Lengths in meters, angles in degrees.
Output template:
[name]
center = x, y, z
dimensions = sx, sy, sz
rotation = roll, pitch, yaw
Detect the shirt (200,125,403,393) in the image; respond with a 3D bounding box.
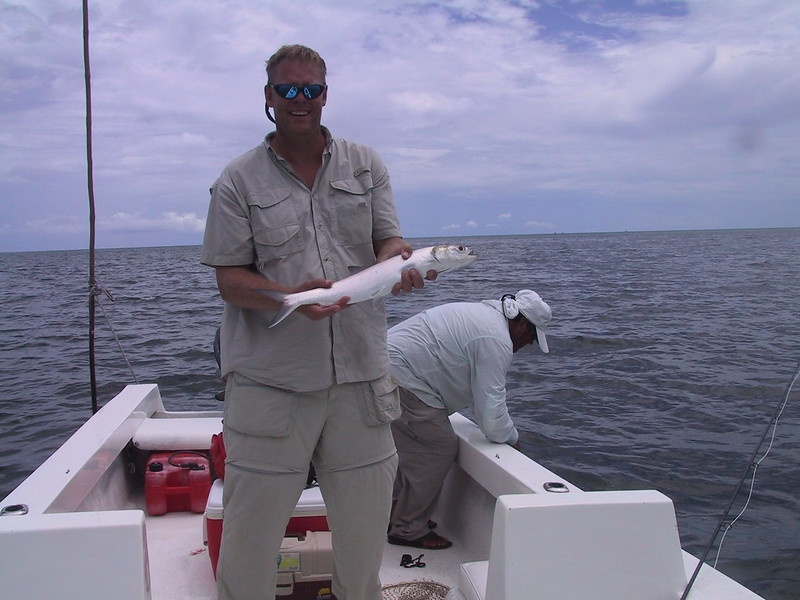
[shirt]
center = -0.452, -0.082, 2.915
dimensions = 0.720, 1.384, 0.865
rotation = -3, 14, -25

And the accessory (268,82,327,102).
[accessory]
center = -0.451, -0.921, 2.652
dimensions = 0.221, 0.070, 0.042
rotation = -2, 8, -7

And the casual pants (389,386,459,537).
[casual pants]
center = 0.107, 1.126, 4.432
dimensions = 0.694, 0.869, 0.588
rotation = 1, 11, -36
